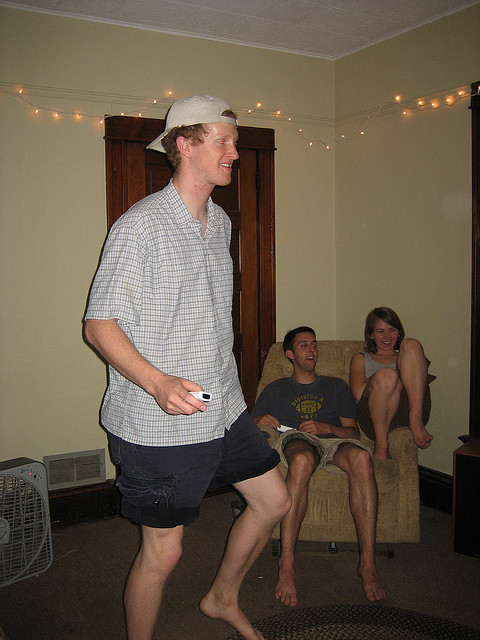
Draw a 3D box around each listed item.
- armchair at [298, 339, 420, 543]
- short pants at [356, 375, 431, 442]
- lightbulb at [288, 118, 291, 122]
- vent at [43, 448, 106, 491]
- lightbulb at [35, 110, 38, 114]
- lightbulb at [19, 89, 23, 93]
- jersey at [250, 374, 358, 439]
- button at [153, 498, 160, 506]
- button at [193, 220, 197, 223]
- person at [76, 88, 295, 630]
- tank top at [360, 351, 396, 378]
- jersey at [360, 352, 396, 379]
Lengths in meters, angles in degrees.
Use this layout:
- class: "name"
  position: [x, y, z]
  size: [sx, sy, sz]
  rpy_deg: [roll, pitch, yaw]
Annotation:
- class: "armchair"
  position: [0.537, 0.488, 2.569]
  size: [0.650, 0.831, 0.863]
  rpy_deg: [1, 15, 5]
- class: "short pants"
  position: [0.736, 0.435, 2.646]
  size: [0.374, 0.325, 0.199]
  rpy_deg: [5, 9, 34]
- class: "lightbulb"
  position: [0.309, -1.251, 3.432]
  size: [0.024, 0.017, 0.009]
  rpy_deg: [-2, 2, -32]
- class: "vent"
  position: [-0.848, 0.770, 2.850]
  size: [0.265, 0.153, 0.035]
  rpy_deg: [-6, -12, -17]
- class: "lightbulb"
  position: [-0.983, -1.010, 2.666]
  size: [0.014, 0.022, 0.005]
  rpy_deg: [1, 6, 4]
- class: "lightbulb"
  position: [-1.040, -1.090, 2.617]
  size: [0.012, 0.015, 0.004]
  rpy_deg: [-2, 1, -20]
- class: "jersey"
  position: [0.345, 0.404, 2.624]
  size: [0.495, 0.314, 0.230]
  rpy_deg: [-11, 10, 15]
- class: "button"
  position: [-0.206, 0.448, 1.359]
  size: [0.016, 0.020, 0.003]
  rpy_deg: [-1, 1, -5]
- class: "button"
  position: [-0.117, -0.259, 1.439]
  size: [0.012, 0.007, 0.002]
  rpy_deg: [-3, 2, -39]
- class: "person"
  position: [-0.157, 0.155, 1.430]
  size: [0.425, 1.537, 0.610]
  rpy_deg: [-1, 2, 24]
- class: "tank top"
  position: [0.660, 0.225, 2.722]
  size: [0.164, 0.089, 0.163]
  rpy_deg: [4, 43, -2]
- class: "jersey"
  position: [0.652, 0.225, 2.735]
  size: [0.165, 0.097, 0.179]
  rpy_deg: [2, 40, -5]
